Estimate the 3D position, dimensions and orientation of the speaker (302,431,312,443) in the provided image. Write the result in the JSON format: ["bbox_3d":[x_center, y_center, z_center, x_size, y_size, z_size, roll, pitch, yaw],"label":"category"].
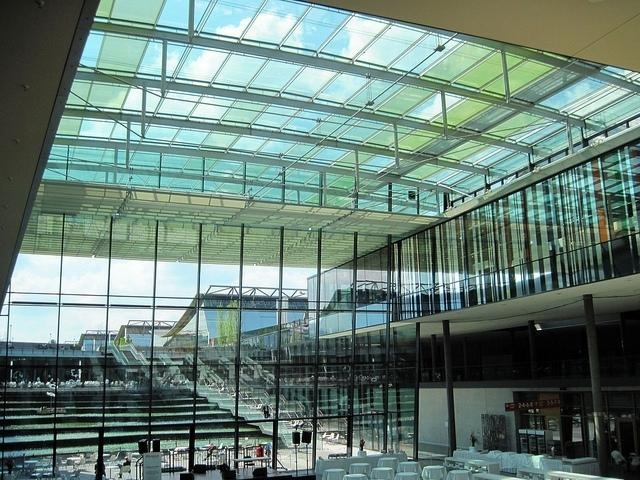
[{"bbox_3d":[-0.505,8.014,25.109,0.532,0.548,0.153,14,-24,-40],"label":"speaker"}]

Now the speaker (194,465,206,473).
[{"bbox_3d":[-4.498,8.496,22.862,0.309,0.232,0.402,15,-25,-32],"label":"speaker"}]

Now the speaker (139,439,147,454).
[{"bbox_3d":[-6.529,7.541,22.478,0.313,0.390,0.490,4,-15,-12],"label":"speaker"}]

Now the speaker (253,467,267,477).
[{"bbox_3d":[-2.200,8.430,22.362,0.426,0.306,0.363,3,-18,-10],"label":"speaker"}]
